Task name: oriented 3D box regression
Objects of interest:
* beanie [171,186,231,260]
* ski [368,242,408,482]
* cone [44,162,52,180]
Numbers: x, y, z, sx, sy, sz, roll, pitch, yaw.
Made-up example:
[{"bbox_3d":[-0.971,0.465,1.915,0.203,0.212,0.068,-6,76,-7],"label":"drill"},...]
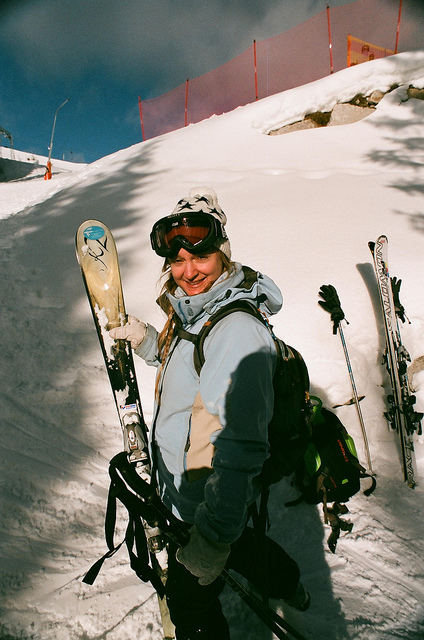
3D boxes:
[{"bbox_3d":[-0.089,-0.624,3.547,0.371,0.506,0.185,-8,-20,-23],"label":"beanie"},{"bbox_3d":[1.976,0.384,6.000,0.213,2.545,0.279,-5,-21,21],"label":"ski"},{"bbox_3d":[-5.711,-5.193,18.318,0.221,0.630,1.210,-13,11,-12],"label":"cone"}]
